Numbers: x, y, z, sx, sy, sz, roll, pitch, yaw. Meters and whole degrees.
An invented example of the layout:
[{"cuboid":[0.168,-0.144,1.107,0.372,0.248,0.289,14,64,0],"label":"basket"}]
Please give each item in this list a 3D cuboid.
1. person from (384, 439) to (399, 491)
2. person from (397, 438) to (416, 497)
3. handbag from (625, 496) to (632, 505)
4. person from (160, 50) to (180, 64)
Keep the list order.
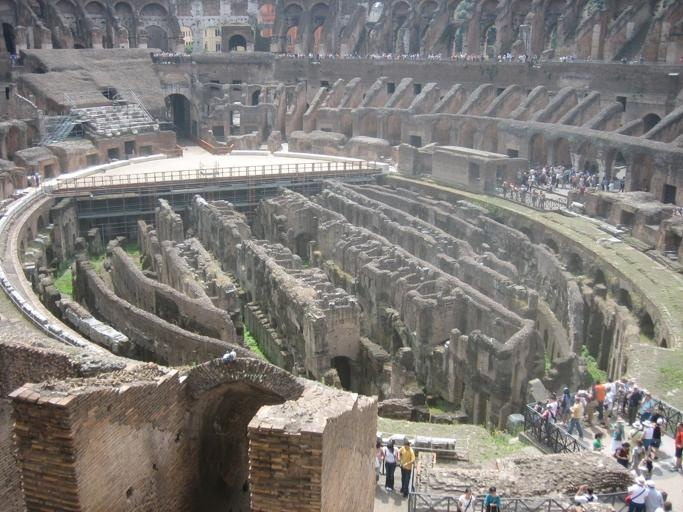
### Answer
[{"cuboid":[1.141,4.883,15.117,0.312,1.132,0.588,0,3,3],"label":"person"},{"cuboid":[1.486,4.879,14.682,0.340,1.264,0.700,0,3,-2],"label":"person"},{"cuboid":[5.565,4.771,12.524,0.112,0.196,0.061,3,4,33],"label":"handbag"},{"cuboid":[-14.621,-16.985,54.841,1.738,1.180,1.438,-1,4,-16],"label":"person"}]
